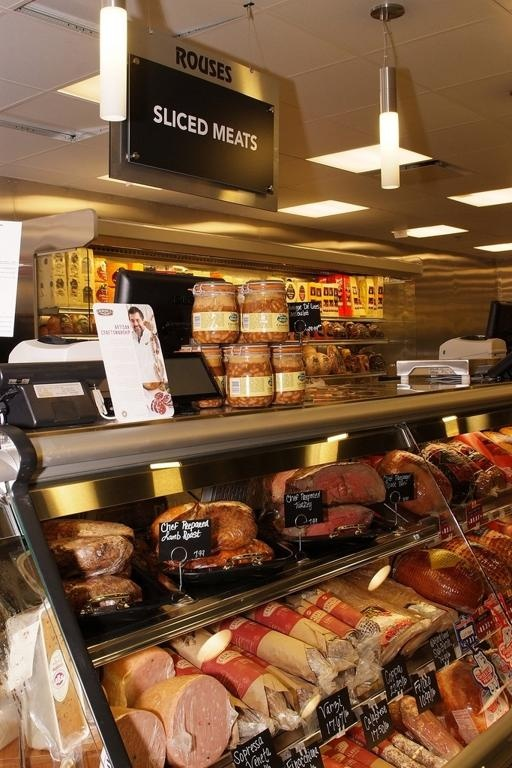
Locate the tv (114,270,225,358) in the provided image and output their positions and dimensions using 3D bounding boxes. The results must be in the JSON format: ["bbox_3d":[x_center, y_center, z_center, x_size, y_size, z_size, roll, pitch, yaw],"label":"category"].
[{"bbox_3d":[-0.209,-0.171,1.410,0.043,0.266,0.392,2,10,35],"label":"tv"}]

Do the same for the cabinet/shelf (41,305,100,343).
[{"bbox_3d":[-1.614,-0.504,4.267,0.501,0.283,0.481,-10,16,-9],"label":"cabinet/shelf"}]

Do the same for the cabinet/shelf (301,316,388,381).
[{"bbox_3d":[0.938,-0.444,6.185,0.509,0.757,1.500,3,3,-10],"label":"cabinet/shelf"}]
